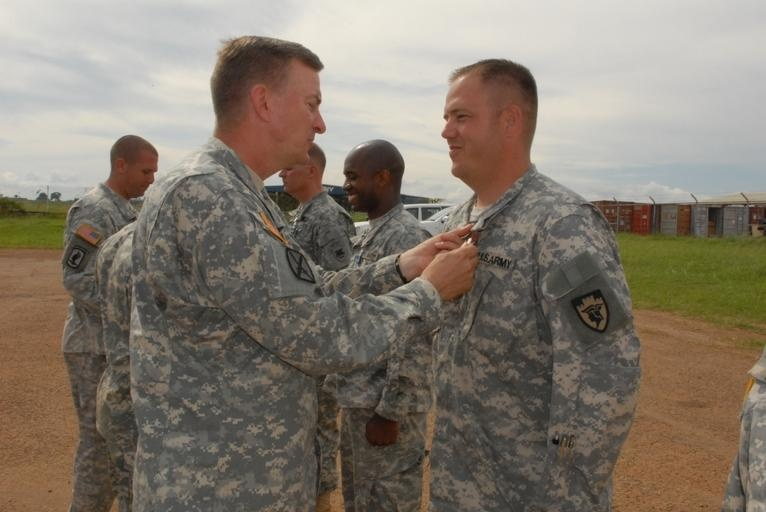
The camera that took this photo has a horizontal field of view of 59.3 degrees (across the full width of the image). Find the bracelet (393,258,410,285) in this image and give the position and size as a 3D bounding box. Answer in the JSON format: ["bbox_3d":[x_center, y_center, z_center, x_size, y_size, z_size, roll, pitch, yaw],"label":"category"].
[{"bbox_3d":[0.119,0.109,4.748,0.041,0.142,0.141,-19,38,11],"label":"bracelet"}]
